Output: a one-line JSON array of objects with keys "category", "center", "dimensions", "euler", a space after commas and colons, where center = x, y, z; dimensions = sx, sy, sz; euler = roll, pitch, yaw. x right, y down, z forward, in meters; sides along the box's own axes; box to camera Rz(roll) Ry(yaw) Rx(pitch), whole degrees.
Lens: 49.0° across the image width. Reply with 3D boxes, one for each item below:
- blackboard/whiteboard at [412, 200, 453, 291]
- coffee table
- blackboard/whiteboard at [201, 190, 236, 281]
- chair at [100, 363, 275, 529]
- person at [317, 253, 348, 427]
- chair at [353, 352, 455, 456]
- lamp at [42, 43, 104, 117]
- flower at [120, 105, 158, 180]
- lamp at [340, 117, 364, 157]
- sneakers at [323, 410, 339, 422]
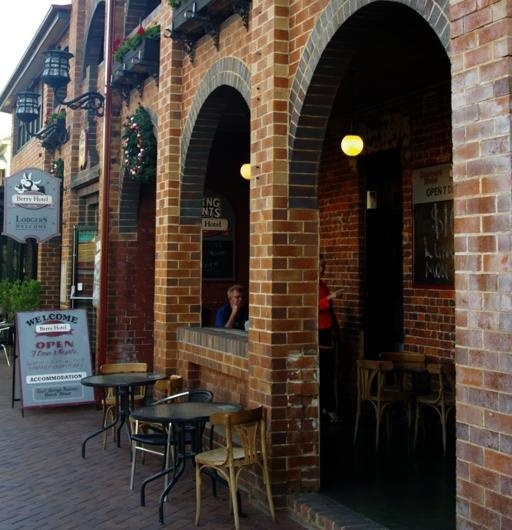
[{"category": "blackboard/whiteboard", "center": [2.172, -0.242, 6.887], "dimensions": [0.103, 1.207, 0.925], "euler": [2, -4, -20]}, {"category": "coffee table", "center": [-1.492, 1.604, 6.310], "dimensions": [0.832, 0.907, 0.915], "euler": [2, 0, 7]}, {"category": "blackboard/whiteboard", "center": [-0.766, -0.557, 10.586], "dimensions": [0.741, 1.632, 0.070], "euler": [1, 6, 21]}, {"category": "chair", "center": [-0.344, 1.360, 4.616], "dimensions": [0.832, 0.804, 1.093], "euler": [3, -2, -40]}, {"category": "person", "center": [0.980, 0.908, 7.500], "dimensions": [0.282, 2.076, 1.332], "euler": [-3, -2, 8]}, {"category": "chair", "center": [1.629, 1.371, 6.240], "dimensions": [0.976, 1.005, 1.035], "euler": [3, -6, -43]}, {"category": "lamp", "center": [-4.121, -4.220, 12.813], "dimensions": [1.250, 1.828, 0.624], "euler": [-4, 33, -27]}, {"category": "flower", "center": [-1.750, -1.812, 8.597], "dimensions": [0.313, 1.090, 0.647], "euler": [-4, 7, -45]}, {"category": "lamp", "center": [1.274, -1.688, 7.466], "dimensions": [0.232, 0.631, 0.266], "euler": [7, -16, -3]}, {"category": "sneakers", "center": [0.950, 1.864, 6.979], "dimensions": [0.107, 0.122, 0.043], "euler": [13, -8, 41]}]
